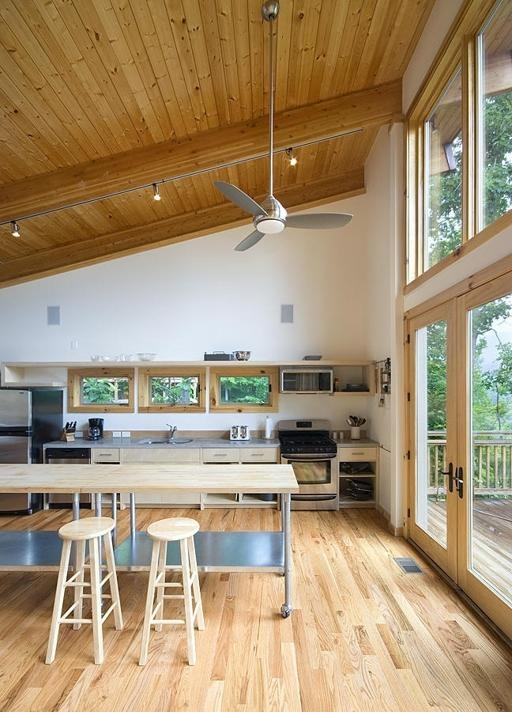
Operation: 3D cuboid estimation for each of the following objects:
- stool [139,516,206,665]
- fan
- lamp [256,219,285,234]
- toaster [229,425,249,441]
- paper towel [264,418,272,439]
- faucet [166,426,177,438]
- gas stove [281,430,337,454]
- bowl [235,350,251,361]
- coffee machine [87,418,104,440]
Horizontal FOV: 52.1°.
[{"bbox_3d":[-0.486,1.296,3.133,0.351,0.668,0.905,-1,0,-6],"label":"stool"},{"bbox_3d":[0.177,-1.566,4.029,0.818,1.529,1.965,-1,0,1],"label":"fan"},{"bbox_3d":[0.091,-0.822,3.358,0.180,0.047,0.272,-1,0,-17],"label":"lamp"},{"bbox_3d":[-0.182,0.888,5.983,0.237,0.149,0.299,-1,0,-2],"label":"toaster"},{"bbox_3d":[0.154,0.837,6.060,0.071,0.242,0.119,0,1,17],"label":"paper towel"},{"bbox_3d":[-0.982,0.896,6.107,0.096,0.143,0.095,0,0,19],"label":"faucet"},{"bbox_3d":[0.562,0.952,5.696,0.608,0.185,0.745,-1,0,2],"label":"gas stove"},{"bbox_3d":[-0.147,0.005,5.940,0.169,0.111,0.230,-1,0,-2],"label":"bowl"},{"bbox_3d":[-1.838,0.852,6.018,0.142,0.233,0.233,2,6,6],"label":"coffee machine"}]
